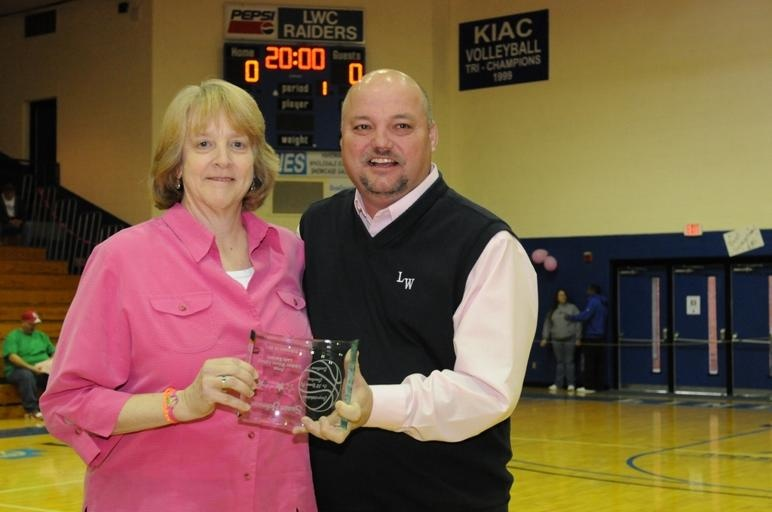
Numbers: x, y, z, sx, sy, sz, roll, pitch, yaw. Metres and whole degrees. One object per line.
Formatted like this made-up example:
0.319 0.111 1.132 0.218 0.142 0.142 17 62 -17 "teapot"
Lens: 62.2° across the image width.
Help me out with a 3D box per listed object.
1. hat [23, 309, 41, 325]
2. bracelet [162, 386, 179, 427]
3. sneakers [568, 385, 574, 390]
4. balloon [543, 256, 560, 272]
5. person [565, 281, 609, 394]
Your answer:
-5.873 1.011 10.492 0.417 0.237 0.294 -1 -1 39 "hat"
-0.732 0.505 2.147 0.033 0.103 0.073 -2 -10 11 "bracelet"
4.117 2.912 14.058 0.106 0.084 0.110 1 -8 -8 "sneakers"
3.795 0.202 14.592 0.266 0.339 0.268 3 -5 -40 "balloon"
4.476 1.933 13.916 0.731 2.086 0.831 -1 -4 20 "person"
